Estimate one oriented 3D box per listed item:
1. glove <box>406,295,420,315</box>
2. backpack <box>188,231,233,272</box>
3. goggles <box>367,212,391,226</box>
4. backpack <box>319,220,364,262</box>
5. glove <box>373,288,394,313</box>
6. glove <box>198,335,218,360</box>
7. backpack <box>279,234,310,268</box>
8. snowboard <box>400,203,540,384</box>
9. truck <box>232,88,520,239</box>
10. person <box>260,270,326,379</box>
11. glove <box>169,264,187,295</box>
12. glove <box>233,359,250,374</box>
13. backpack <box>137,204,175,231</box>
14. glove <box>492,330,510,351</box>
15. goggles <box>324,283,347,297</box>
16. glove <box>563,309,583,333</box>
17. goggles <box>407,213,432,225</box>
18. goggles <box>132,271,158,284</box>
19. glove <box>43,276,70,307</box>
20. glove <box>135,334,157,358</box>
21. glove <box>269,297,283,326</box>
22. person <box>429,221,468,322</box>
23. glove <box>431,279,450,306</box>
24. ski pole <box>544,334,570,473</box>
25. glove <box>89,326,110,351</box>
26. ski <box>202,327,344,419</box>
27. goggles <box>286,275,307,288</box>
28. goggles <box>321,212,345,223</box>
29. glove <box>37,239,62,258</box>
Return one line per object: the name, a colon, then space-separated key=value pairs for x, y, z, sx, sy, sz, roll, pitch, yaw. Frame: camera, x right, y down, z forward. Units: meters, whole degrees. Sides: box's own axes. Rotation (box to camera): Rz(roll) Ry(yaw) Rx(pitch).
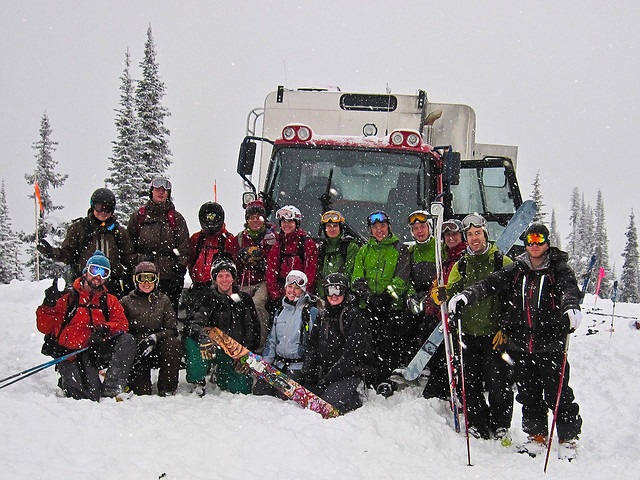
glove: x=1.316 y=0.913 z=10.377 sx=0.175 sy=0.256 sz=0.455 roll=4 pitch=-3 yaw=6
backpack: x=-1.659 y=0.195 z=11.111 sx=0.275 sy=0.524 sz=0.476 roll=-1 pitch=30 yaw=21
goggles: x=0.837 y=-0.300 z=10.680 sx=0.303 sy=0.200 sz=0.159 roll=4 pitch=-3 yaw=6
backpack: x=0.324 y=-0.004 z=10.996 sx=0.594 sy=0.704 sz=0.465 roll=0 pitch=-6 yaw=-2
glove: x=0.881 y=0.872 z=10.673 sx=0.278 sy=0.358 sz=0.250 roll=19 pitch=-2 yaw=-24
glove: x=-1.566 y=1.477 z=10.093 sx=0.301 sy=0.361 sz=0.105 roll=0 pitch=-2 yaw=-16
backpack: x=-0.359 y=0.198 z=11.080 sx=0.316 sy=0.506 sz=0.491 roll=-4 pitch=-24 yaw=12
snowboard: x=2.004 y=0.830 z=9.911 sx=0.290 sy=2.900 sz=0.153 roll=34 pitch=4 yaw=23
truck: x=1.168 y=-0.825 z=14.050 sx=4.559 sy=3.583 sz=6.382 roll=5 pitch=1 yaw=6
person: x=-0.374 y=1.239 z=10.370 sx=1.002 sy=1.556 sz=0.526 roll=7 pitch=-15 yaw=23
glove: x=-2.132 y=0.621 z=11.238 sx=0.145 sy=0.462 sz=0.299 roll=12 pitch=-5 yaw=-41
glove: x=-1.120 y=1.793 z=10.254 sx=0.226 sy=0.077 sz=0.170 roll=46 pitch=-14 yaw=-9
backpack: x=-2.544 y=-0.363 z=11.312 sx=0.316 sy=0.534 sz=0.464 roll=1 pitch=1 yaw=1
glove: x=2.373 y=1.328 z=9.644 sx=0.157 sy=0.261 sz=0.081 roll=4 pitch=-6 yaw=34
goggles: x=0.213 y=0.692 z=10.074 sx=0.307 sy=0.202 sz=0.151 roll=4 pitch=-3 yaw=2
glove: x=3.047 y=0.960 z=8.761 sx=0.180 sy=0.285 sz=0.260 roll=1 pitch=-23 yaw=8
goggles: x=1.453 y=-0.301 z=10.613 sx=0.324 sy=0.173 sz=0.147 roll=4 pitch=-3 yaw=9
goggles: x=-2.480 y=0.525 z=10.391 sx=0.333 sy=0.171 sz=0.136 roll=5 pitch=-3 yaw=-16
glove: x=-3.570 y=0.711 z=9.851 sx=0.203 sy=0.294 sz=0.344 roll=2 pitch=-4 yaw=37
glove: x=-2.406 y=1.469 z=10.166 sx=0.132 sy=0.125 sz=0.392 roll=14 pitch=24 yaw=8
glove: x=-0.690 y=1.085 z=10.928 sx=0.245 sy=0.406 sz=0.343 roll=0 pitch=-6 yaw=-9
person: x=1.729 y=0.325 z=10.189 sx=0.307 sy=1.957 sz=0.377 roll=34 pitch=-37 yaw=-27
glove: x=1.542 y=0.705 z=9.556 sx=0.125 sy=0.390 sz=0.261 roll=-12 pitch=-19 yaw=24
ski pole: x=2.911 y=2.004 z=9.014 sx=0.034 sy=1.653 sz=0.066 roll=10 pitch=-6 yaw=-5
glove: x=-3.001 y=1.320 z=9.958 sx=0.196 sy=0.336 sz=0.282 roll=7 pitch=-2 yaw=-7
ski: x=-0.597 y=1.837 z=9.986 sx=1.479 sy=0.213 sz=0.206 roll=40 pitch=19 yaw=17
goggles: x=-0.331 y=0.580 z=10.322 sx=0.269 sy=0.164 sz=0.132 roll=5 pitch=-3 yaw=-17
goggles: x=0.187 y=-0.330 z=10.922 sx=0.330 sy=0.149 sz=0.198 roll=5 pitch=-3 yaw=2
glove: x=-3.925 y=0.123 z=10.481 sx=0.237 sy=0.190 sz=0.530 roll=4 pitch=-3 yaw=8
